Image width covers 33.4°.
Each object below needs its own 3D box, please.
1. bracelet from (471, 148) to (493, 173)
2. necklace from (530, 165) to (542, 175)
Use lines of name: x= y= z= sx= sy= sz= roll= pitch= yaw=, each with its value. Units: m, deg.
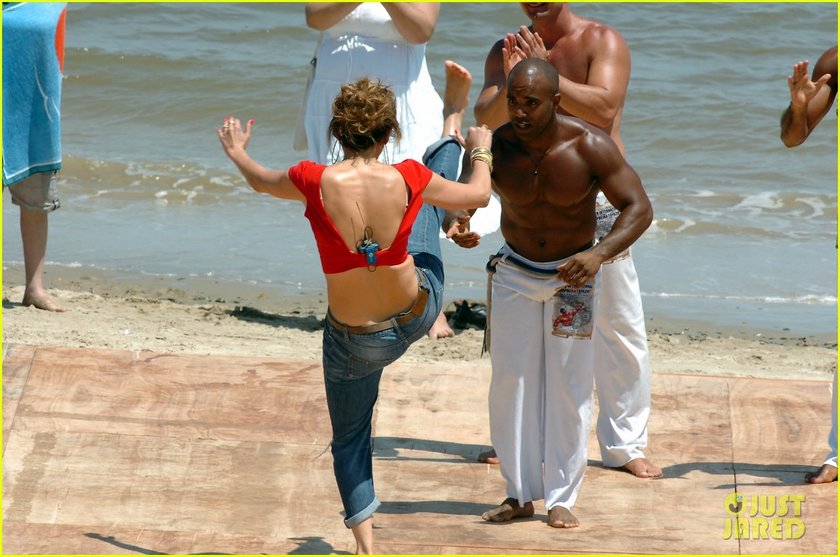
bracelet: x=0.444 y=-0.844 z=9.978 sx=0.190 sy=0.107 sz=0.170 roll=-4 pitch=-13 yaw=20
necklace: x=0.844 y=-0.777 z=10.055 sx=0.061 sy=0.066 sz=0.039 roll=4 pitch=29 yaw=11
